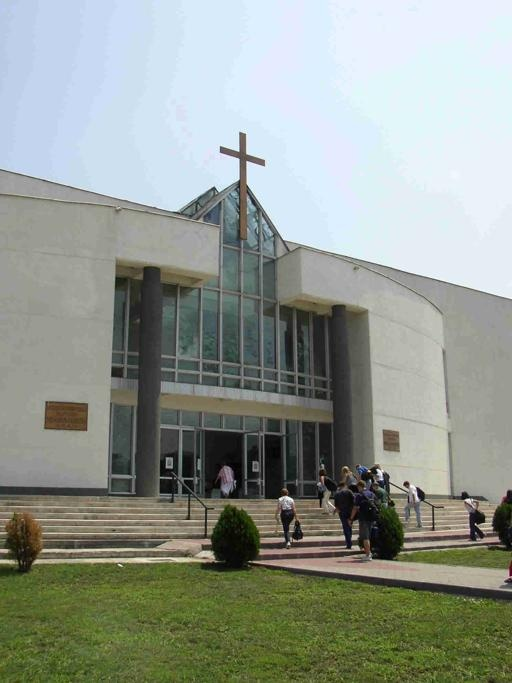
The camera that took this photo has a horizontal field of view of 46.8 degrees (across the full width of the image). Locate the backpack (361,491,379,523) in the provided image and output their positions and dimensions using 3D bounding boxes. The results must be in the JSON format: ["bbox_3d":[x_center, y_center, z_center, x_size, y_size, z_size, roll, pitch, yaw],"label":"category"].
[{"bbox_3d":[2.313,3.366,12.061,0.237,0.597,0.497,-8,-15,31],"label":"backpack"}]

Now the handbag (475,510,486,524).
[{"bbox_3d":[6.583,5.138,17.338,0.282,0.383,0.377,16,-20,-30],"label":"handbag"}]

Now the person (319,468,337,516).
[{"bbox_3d":[2.254,4.743,18.734,0.525,1.355,1.569,-2,-13,6],"label":"person"}]

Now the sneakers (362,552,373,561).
[{"bbox_3d":[2.149,4.202,11.546,0.195,0.129,0.433,-2,-13,5],"label":"sneakers"}]

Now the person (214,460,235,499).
[{"bbox_3d":[-1.234,5.571,23.625,0.709,1.326,1.606,0,-13,-4],"label":"person"}]
